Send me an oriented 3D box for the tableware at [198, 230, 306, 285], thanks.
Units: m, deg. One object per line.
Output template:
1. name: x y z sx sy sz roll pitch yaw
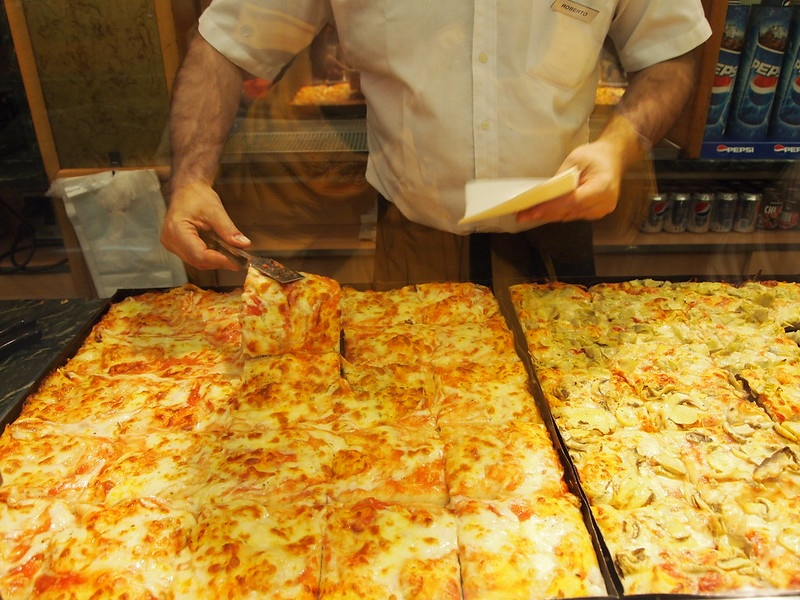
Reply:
1. tableware: -0.608 -0.165 2.312 0.528 0.063 0.156 25 33 25

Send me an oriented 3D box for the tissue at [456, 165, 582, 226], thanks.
1. tissue: 0.406 -0.378 2.060 0.393 0.070 0.374 9 -2 -22

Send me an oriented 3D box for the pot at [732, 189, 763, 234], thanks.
1. pot: 1.608 -0.402 2.740 0.098 0.178 0.091 -1 37 0
